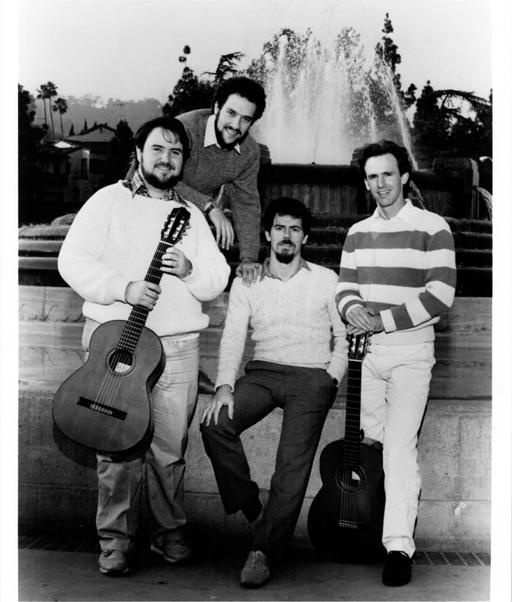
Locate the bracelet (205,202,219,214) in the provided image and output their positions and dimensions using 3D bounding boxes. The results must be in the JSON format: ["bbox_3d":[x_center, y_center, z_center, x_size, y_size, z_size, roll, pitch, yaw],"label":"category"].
[{"bbox_3d":[-0.220,-0.442,4.060,0.060,0.051,0.065,-6,-17,-33],"label":"bracelet"}]

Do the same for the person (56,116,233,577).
[{"bbox_3d":[-0.436,0.245,3.826,0.738,0.665,2.037,-8,41,4],"label":"person"}]

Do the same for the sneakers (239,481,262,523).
[{"bbox_3d":[-0.022,0.892,3.804,0.118,0.180,0.042,-1,19,17],"label":"sneakers"}]

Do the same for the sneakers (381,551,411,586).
[{"bbox_3d":[0.597,1.132,3.604,0.088,0.082,0.183,-1,-5,4],"label":"sneakers"}]

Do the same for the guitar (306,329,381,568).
[{"bbox_3d":[0.394,0.652,3.689,0.328,1.022,0.110,2,4,7],"label":"guitar"}]

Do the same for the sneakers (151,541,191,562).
[{"bbox_3d":[-0.383,1.108,3.817,0.156,0.080,0.088,4,9,36],"label":"sneakers"}]

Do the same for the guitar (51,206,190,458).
[{"bbox_3d":[-0.519,0.126,3.444,0.362,0.975,0.128,15,-5,5],"label":"guitar"}]

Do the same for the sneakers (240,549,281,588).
[{"bbox_3d":[0.001,1.111,3.588,0.115,0.098,0.225,-3,12,11],"label":"sneakers"}]
